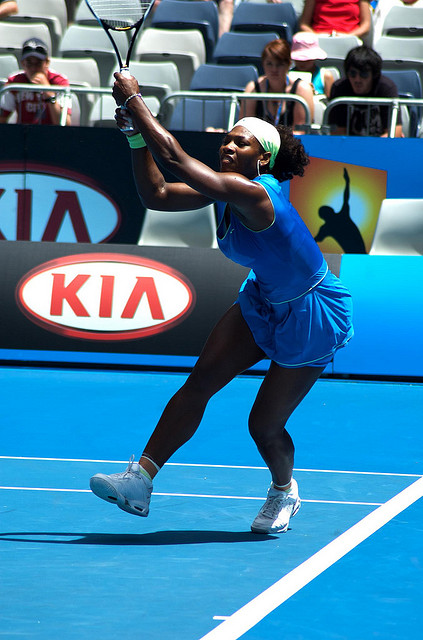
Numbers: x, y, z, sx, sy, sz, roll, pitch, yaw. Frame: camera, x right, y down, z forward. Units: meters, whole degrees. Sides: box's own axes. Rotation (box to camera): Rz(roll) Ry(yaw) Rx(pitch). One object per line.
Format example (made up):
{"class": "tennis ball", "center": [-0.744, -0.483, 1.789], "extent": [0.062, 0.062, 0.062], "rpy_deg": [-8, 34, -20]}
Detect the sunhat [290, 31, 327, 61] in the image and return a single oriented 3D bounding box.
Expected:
{"class": "sunhat", "center": [1.177, -3.360, 7.898], "extent": [0.415, 0.399, 0.498], "rpy_deg": [12, 15, 1]}

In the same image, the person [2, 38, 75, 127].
{"class": "person", "center": [-1.993, -2.785, 7.538], "extent": [0.760, 0.975, 1.408], "rpy_deg": [8, 15, -17]}

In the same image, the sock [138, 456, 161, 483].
{"class": "sock", "center": [-0.266, 0.606, 2.692], "extent": [0.103, 0.084, 0.081], "rpy_deg": [36, 2, -12]}

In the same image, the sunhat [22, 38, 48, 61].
{"class": "sunhat", "center": [-2.045, -3.154, 7.526], "extent": [0.222, 0.178, 0.331], "rpy_deg": [1, -7, -2]}

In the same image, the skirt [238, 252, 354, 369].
{"class": "skirt", "center": [0.372, -0.065, 2.832], "extent": [0.409, 0.379, 0.598], "rpy_deg": [-12, 14, -36]}

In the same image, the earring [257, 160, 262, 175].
{"class": "earring", "center": [0.185, -0.625, 2.616], "extent": [0.018, 0.045, 0.008], "rpy_deg": [-12, 42, -1]}
